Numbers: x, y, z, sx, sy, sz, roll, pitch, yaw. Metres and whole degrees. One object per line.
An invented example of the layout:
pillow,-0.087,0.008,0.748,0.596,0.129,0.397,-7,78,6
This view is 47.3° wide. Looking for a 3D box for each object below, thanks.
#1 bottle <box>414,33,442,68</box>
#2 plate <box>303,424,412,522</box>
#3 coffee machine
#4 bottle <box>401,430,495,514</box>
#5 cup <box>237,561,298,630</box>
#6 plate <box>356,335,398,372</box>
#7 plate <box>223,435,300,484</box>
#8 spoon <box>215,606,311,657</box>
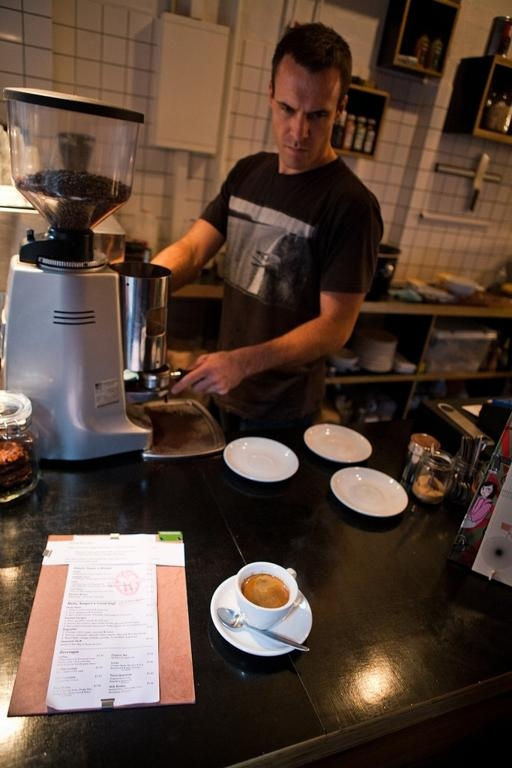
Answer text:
bottle,0.873,-1.687,2.958,0.139,0.147,0.065,13,24,8
plate,0.236,0.249,1.339,0.142,0.024,0.331,-3,23,-8
coffee machine,-0.322,-0.159,1.110,0.295,0.698,0.166,4,24,-12
bottle,0.425,0.177,1.323,0.169,0.171,0.143,19,25,20
cup,0.011,0.344,0.939,0.100,0.090,0.128,7,22,-4
plate,0.685,-0.168,3.344,0.197,0.172,0.214,2,13,-3
plate,0.010,0.173,1.337,0.168,0.019,0.182,17,25,16
spoon,0.006,0.377,0.881,0.156,0.017,0.033,21,15,13
